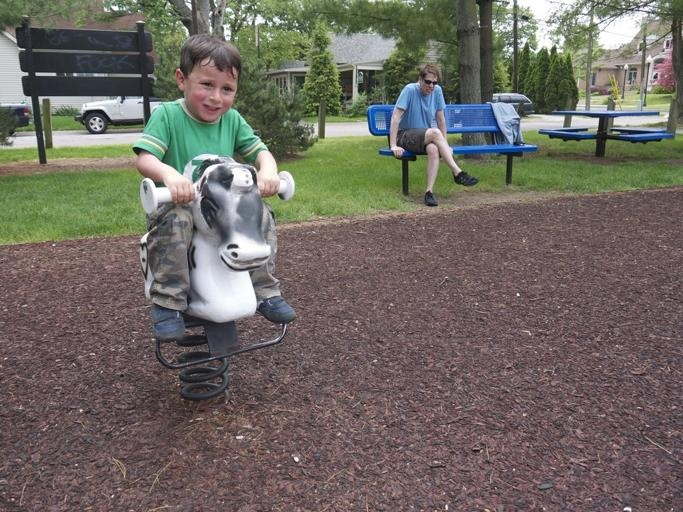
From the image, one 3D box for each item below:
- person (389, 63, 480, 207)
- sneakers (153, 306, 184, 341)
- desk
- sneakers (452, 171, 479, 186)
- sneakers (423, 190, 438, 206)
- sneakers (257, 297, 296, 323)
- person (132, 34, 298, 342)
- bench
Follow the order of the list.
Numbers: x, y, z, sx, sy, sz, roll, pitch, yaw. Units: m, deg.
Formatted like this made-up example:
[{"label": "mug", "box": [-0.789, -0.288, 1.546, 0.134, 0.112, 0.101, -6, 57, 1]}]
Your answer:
[{"label": "person", "box": [1.060, -1.485, 7.341, 0.971, 1.608, 1.162, 0, 18, 4]}, {"label": "sneakers", "box": [-0.804, 0.277, 2.826, 0.157, 0.079, 0.234, -6, 57, -8]}, {"label": "desk", "box": [5.417, -2.509, 12.337, 2.250, 0.839, 2.023, -1, 12, -6]}, {"label": "sneakers", "box": [1.471, -0.904, 7.169, 0.162, 0.135, 0.314, -34, 32, -33]}, {"label": "sneakers", "box": [1.045, -0.670, 7.122, 0.153, 0.154, 0.231, 0, 17, 4]}, {"label": "sneakers", "box": [-0.323, 0.264, 3.027, 0.225, 0.084, 0.096, 17, 31, 26]}, {"label": "person", "box": [-0.653, -0.340, 2.955, 0.712, 1.423, 0.816, -6, 18, -13]}, {"label": "bench", "box": [1.586, -1.599, 8.812, 2.333, 0.911, 0.722, -3, 36, -8]}]
